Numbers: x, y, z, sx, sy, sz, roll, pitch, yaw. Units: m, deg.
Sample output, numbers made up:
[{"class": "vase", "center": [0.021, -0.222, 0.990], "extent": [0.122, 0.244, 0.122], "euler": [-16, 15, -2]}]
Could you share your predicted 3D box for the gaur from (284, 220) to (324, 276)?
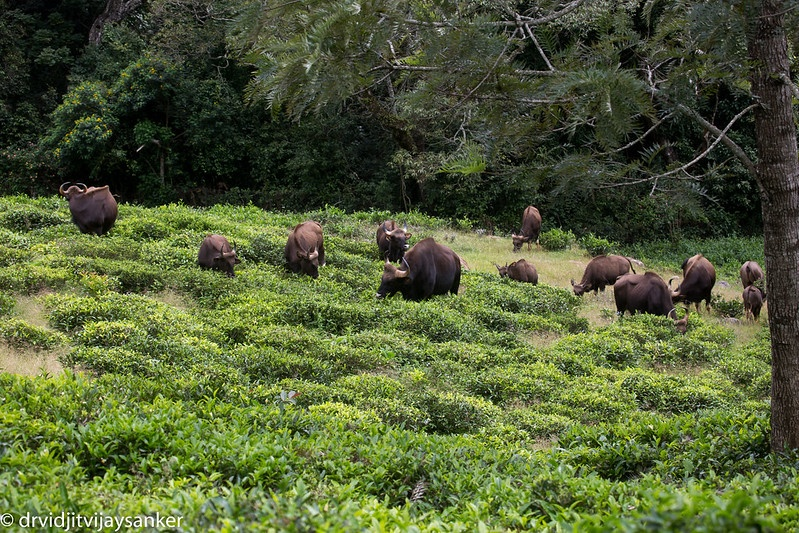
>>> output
[{"class": "gaur", "center": [-2.686, -0.483, 24.337], "extent": [1.051, 1.431, 1.787], "euler": [4, 4, -6]}]

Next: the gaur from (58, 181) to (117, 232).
[{"class": "gaur", "center": [-8.977, -1.598, 25.295], "extent": [0.936, 1.166, 2.048], "euler": [-5, -6, 6]}]

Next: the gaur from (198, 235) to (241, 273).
[{"class": "gaur", "center": [-4.912, -0.315, 23.027], "extent": [0.888, 0.997, 1.132], "euler": [2, 5, -31]}]

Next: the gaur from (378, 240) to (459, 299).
[{"class": "gaur", "center": [0.658, 0.280, 23.874], "extent": [1.166, 1.909, 3.390], "euler": [15, 10, 38]}]
